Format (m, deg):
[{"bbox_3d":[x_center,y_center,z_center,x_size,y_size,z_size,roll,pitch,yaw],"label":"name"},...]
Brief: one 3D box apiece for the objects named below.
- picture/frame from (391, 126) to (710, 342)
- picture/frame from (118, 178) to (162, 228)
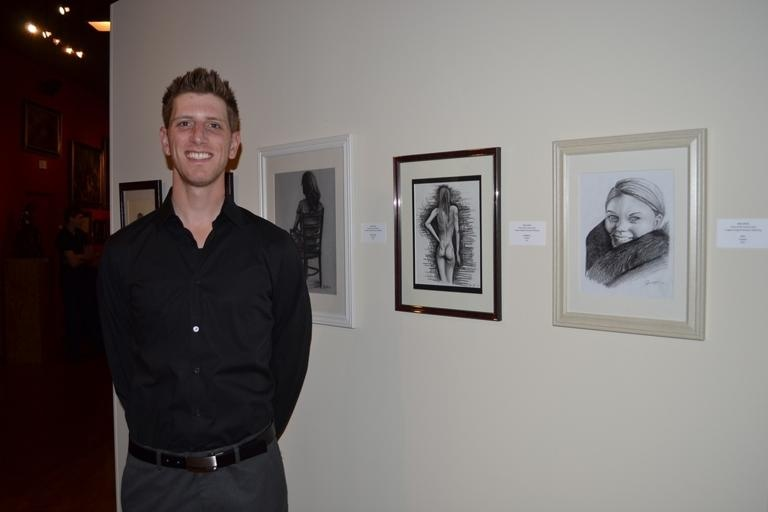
[{"bbox_3d":[1.037,-0.138,3.048,1.256,0.822,0.053,1,4,36],"label":"picture/frame"},{"bbox_3d":[-1.948,-0.436,4.180,0.443,0.467,0.036,6,4,28],"label":"picture/frame"}]
